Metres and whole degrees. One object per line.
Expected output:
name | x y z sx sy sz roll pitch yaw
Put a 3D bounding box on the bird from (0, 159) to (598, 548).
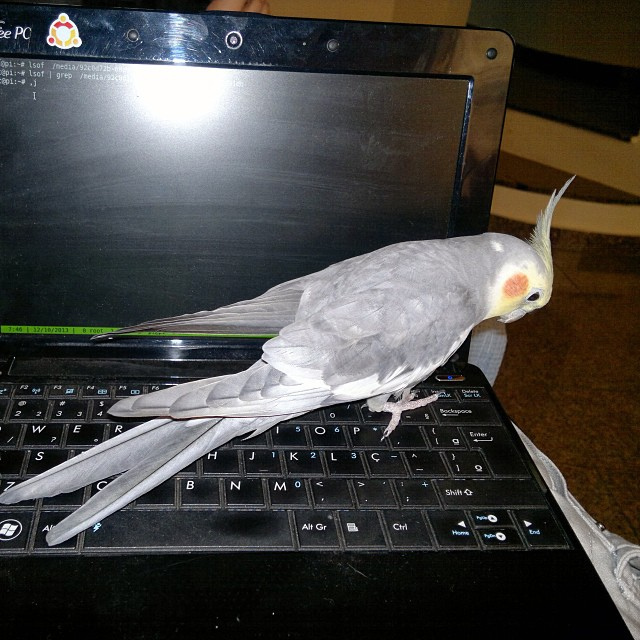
bird | 0.084 -0.012 0.573 0.668 0.164 0.249 -12 -43 -13
